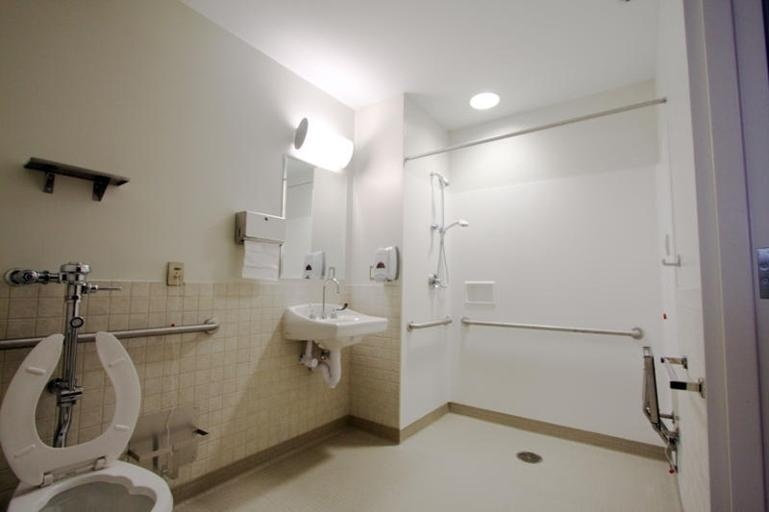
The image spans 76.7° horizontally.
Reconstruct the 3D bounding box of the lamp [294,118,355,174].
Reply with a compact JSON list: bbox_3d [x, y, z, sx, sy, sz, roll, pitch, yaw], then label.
[{"bbox_3d":[-0.487,-0.884,3.992,0.120,0.264,0.537,37,17,31],"label":"lamp"}]

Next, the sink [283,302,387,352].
[{"bbox_3d":[-0.391,0.553,3.724,0.639,0.323,0.562,-8,14,-41],"label":"sink"}]

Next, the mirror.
[{"bbox_3d":[-0.553,-0.293,3.997,0.218,1.019,0.831,6,12,30],"label":"mirror"}]

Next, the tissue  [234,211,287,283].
[{"bbox_3d":[-0.908,-0.072,3.488,0.175,0.638,0.480,-4,-6,37],"label":"tissue "}]

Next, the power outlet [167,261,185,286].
[{"bbox_3d":[-1.365,0.118,3.174,0.116,0.161,0.047,-5,11,-26],"label":"power outlet"}]
